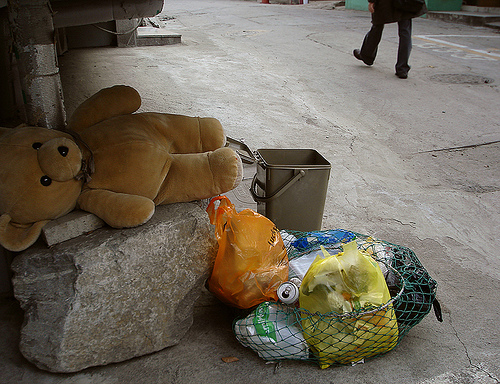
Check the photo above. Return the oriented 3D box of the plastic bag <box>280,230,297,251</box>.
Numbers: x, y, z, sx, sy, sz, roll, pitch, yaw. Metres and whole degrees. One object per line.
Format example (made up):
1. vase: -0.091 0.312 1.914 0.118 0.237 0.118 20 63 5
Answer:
1. plastic bag: 0.256 0.334 2.747 0.116 0.029 0.102 12 31 -8

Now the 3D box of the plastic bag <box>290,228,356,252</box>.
1. plastic bag: 0.500 0.289 2.680 0.283 0.075 0.204 -3 7 -30

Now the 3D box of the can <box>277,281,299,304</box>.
1. can: 0.216 0.575 2.251 0.112 0.101 0.099 -20 66 14

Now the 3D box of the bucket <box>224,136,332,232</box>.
1. bucket: 0.171 -0.047 2.950 0.844 0.683 0.548 -11 29 -24

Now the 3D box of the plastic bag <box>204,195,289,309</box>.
1. plastic bag: -0.013 0.355 2.461 0.538 0.631 0.503 -1 14 -13

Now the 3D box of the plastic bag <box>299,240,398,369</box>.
1. plastic bag: 0.525 0.631 2.249 0.640 0.644 0.386 -9 3 -24
